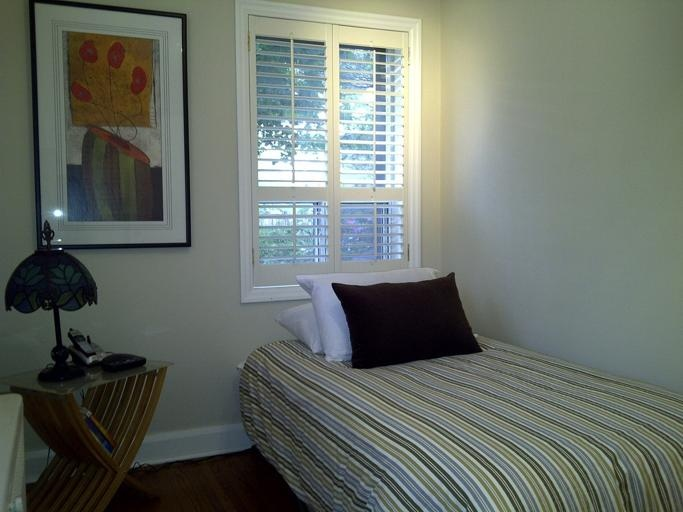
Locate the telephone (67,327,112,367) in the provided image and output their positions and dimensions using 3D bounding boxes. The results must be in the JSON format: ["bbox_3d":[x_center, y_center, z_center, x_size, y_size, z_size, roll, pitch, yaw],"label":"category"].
[{"bbox_3d":[-1.223,0.429,2.438,0.230,0.103,0.129,30,22,26],"label":"telephone"}]

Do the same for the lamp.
[{"bbox_3d":[-1.276,0.203,2.332,0.342,0.719,0.438,-4,8,-7],"label":"lamp"}]

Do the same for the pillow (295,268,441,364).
[{"bbox_3d":[0.020,0.300,2.565,0.678,0.435,0.191,-2,-15,-27],"label":"pillow"}]
